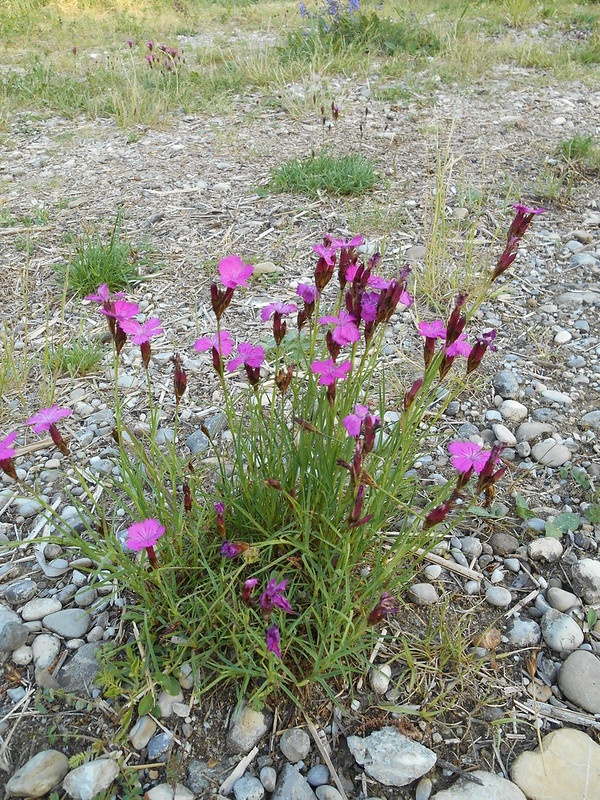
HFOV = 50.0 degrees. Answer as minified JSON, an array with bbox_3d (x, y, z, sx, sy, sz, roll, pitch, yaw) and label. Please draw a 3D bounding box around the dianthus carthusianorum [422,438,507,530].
[{"bbox_3d":[0.471,0.256,1.841,0.191,0.216,0.198,36,53,17],"label":"dianthus carthusianorum"}]
